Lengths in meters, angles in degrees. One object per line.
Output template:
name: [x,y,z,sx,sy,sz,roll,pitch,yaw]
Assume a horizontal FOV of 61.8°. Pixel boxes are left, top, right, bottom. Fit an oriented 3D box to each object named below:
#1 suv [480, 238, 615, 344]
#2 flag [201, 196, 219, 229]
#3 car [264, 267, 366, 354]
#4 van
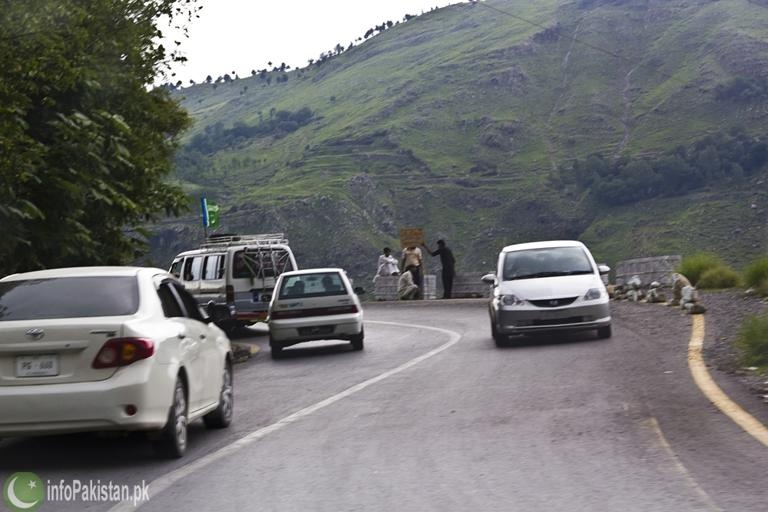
suv: [3.780,0.794,15.508,2.122,1.542,3.392,-5,-10,5]
flag: [-9.548,-2.347,34.680,0.531,1.739,1.889,2,3,27]
car: [-1.750,1.319,15.255,1.685,1.230,2.715,-2,5,-3]
van: [-5.117,0.705,21.807,2.984,2.583,4.911,4,-2,-33]
